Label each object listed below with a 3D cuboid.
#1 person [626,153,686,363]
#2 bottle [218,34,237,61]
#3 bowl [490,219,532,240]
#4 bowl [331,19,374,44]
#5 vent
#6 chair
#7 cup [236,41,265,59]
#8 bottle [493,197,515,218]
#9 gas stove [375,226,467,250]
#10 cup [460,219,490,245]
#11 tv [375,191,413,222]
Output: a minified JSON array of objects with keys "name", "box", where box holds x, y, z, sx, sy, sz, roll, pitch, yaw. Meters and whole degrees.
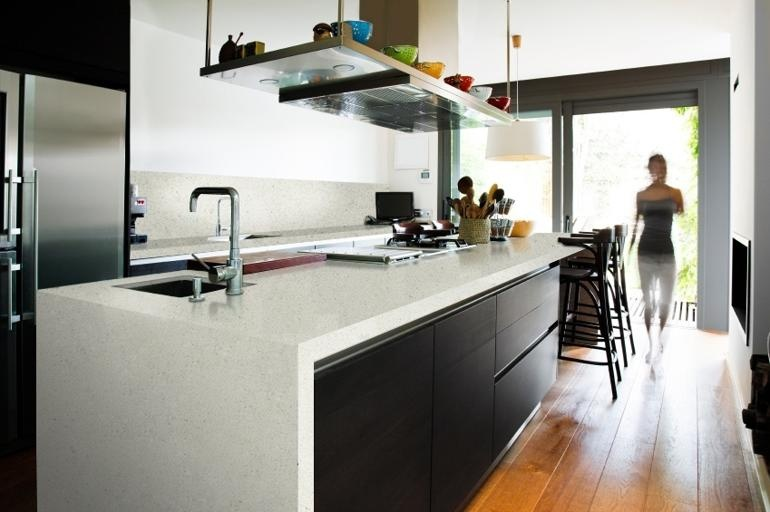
[{"name":"person","box":[3.005,-0.208,5.764,0.289,1.809,0.528,-11,17,-42]},{"name":"bottle","box":[-0.867,-1.132,2.862,0.093,0.155,0.189,-4,13,-20]},{"name":"bowl","box":[1.074,-0.226,4.414,0.269,0.093,0.247,-1,4,0]},{"name":"bowl","box":[-0.180,-1.180,2.791,0.188,0.107,0.192,-1,12,0]},{"name":"vent","box":[-0.092,-1.141,3.302,0.892,0.610,1.848,10,15,38]},{"name":"chair","box":[1.777,0.510,4.403,0.558,1.193,1.450,2,1,23]},{"name":"cup","box":[-0.715,-1.100,2.772,0.134,0.105,0.152,-3,13,-17]},{"name":"bottle","box":[0.937,-0.376,4.112,0.164,0.119,0.161,1,0,0]},{"name":"gas stove","box":[0.305,-0.142,3.922,0.562,0.095,0.872,1,12,2]},{"name":"cup","box":[0.692,-0.183,4.027,0.208,0.150,0.203,0,-2,0]},{"name":"tv","box":[0.124,-0.624,6.561,0.498,0.357,0.179,0,12,0]}]
